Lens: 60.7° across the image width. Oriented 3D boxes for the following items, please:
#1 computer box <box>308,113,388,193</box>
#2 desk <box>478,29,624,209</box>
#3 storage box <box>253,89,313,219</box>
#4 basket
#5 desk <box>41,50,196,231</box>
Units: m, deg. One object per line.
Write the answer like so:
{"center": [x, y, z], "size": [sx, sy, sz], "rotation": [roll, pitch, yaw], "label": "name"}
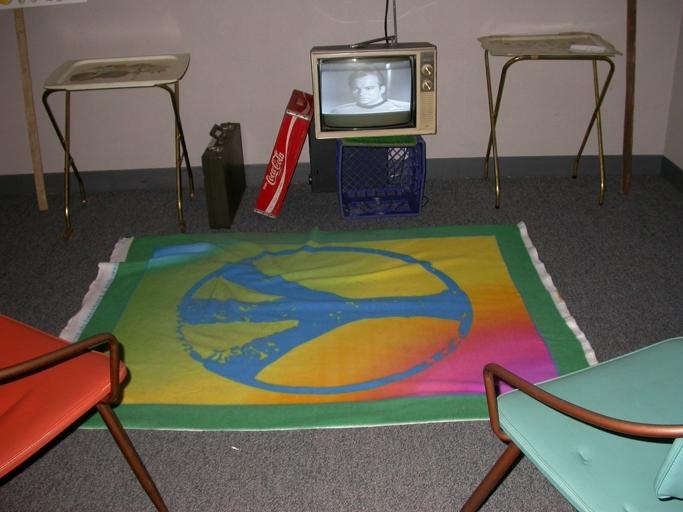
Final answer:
{"center": [0.040, -0.690, 3.801], "size": [0.323, 0.650, 0.352], "rotation": [-5, 48, -4], "label": "computer box"}
{"center": [1.338, -0.893, 3.722], "size": [0.732, 0.968, 0.691], "rotation": [-4, 50, 6], "label": "desk"}
{"center": [-0.323, -0.629, 3.586], "size": [0.277, 0.702, 0.426], "rotation": [10, 23, 23], "label": "storage box"}
{"center": [0.249, -0.525, 3.579], "size": [0.517, 0.469, 0.501], "rotation": [3, 22, 5], "label": "basket"}
{"center": [-1.339, -0.649, 3.566], "size": [0.713, 0.910, 0.632], "rotation": [-3, 16, -9], "label": "desk"}
